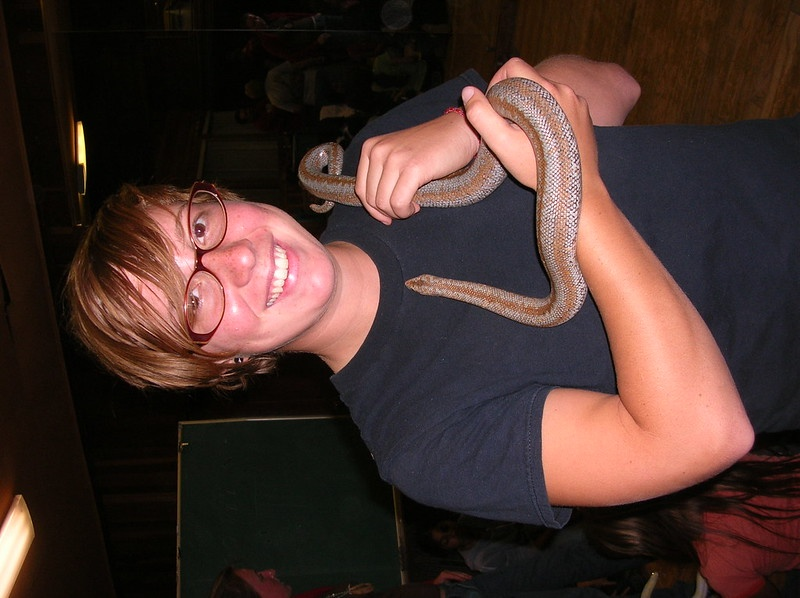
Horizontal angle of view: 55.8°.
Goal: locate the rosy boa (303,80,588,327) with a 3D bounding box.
[{"bbox_3d":[0.204,-0.535,3.429,1.536,0.909,0.570,26,45,28],"label":"rosy boa"}]
